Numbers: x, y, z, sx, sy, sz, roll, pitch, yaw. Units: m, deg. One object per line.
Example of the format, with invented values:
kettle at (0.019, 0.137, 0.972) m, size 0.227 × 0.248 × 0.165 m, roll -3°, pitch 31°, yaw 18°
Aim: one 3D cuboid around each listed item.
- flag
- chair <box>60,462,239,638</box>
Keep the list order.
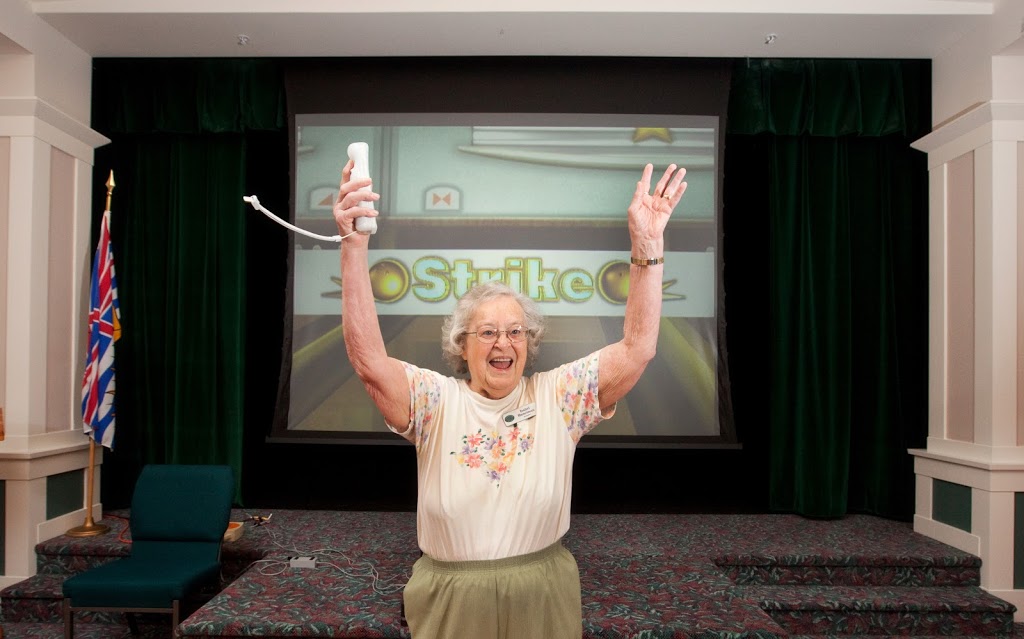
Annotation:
flag at (-3.459, 0.074, 7.264) m, size 0.289 × 1.891 × 0.537 m, roll -2°, pitch 14°, yaw -13°
chair at (-2.593, 1.659, 6.526) m, size 1.035 × 1.500 × 1.314 m, roll -1°, pitch -7°, yaw 5°
